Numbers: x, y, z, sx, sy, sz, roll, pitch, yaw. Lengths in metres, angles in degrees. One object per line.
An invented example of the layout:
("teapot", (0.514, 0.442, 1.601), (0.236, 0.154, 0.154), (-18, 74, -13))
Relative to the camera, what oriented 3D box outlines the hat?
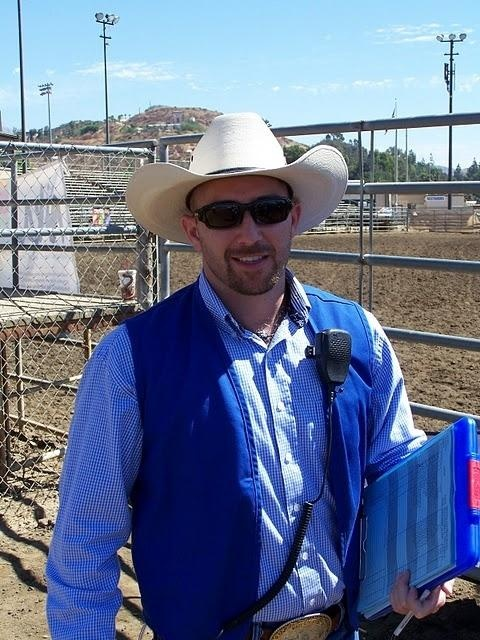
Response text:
("hat", (0.015, -0.378, 1.827), (0.588, 0.215, 0.595), (-2, -13, -10))
